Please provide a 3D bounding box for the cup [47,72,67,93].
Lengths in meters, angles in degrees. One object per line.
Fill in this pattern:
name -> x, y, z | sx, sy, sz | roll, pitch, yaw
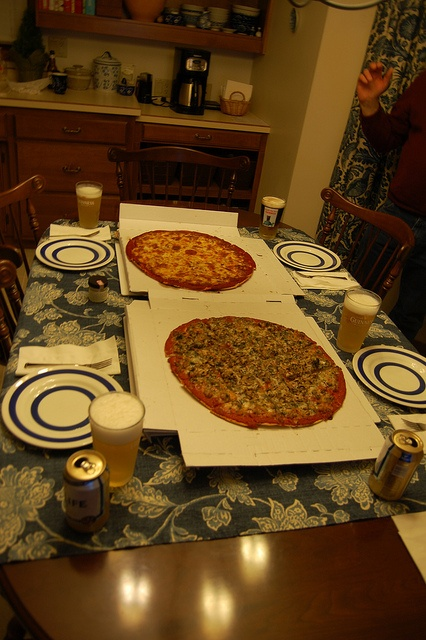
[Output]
cup -> -0.971, -1.500, 2.857 | 0.092, 0.122, 0.088 | 6, 31, -4
